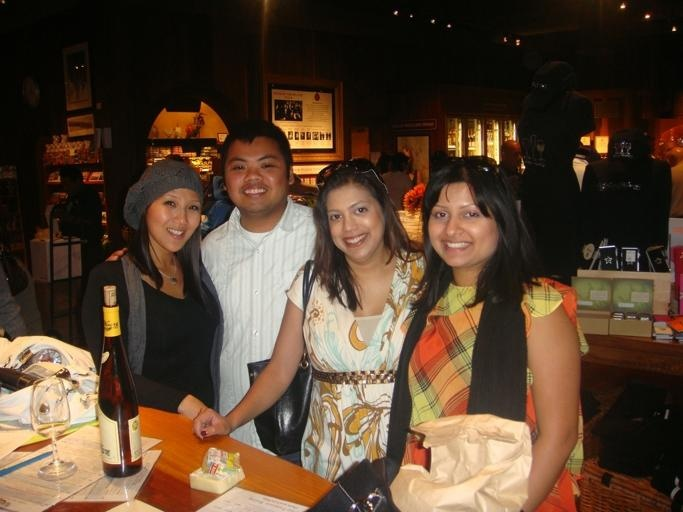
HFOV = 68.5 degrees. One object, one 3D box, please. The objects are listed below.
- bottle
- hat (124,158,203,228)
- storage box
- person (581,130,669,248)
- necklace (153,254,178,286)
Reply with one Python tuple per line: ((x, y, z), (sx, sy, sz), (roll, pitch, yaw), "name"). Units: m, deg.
((-0.766, 0.484, 1.696), (0.122, 0.432, 0.266), (-7, 15, -28), "bottle")
((-0.883, -0.333, 2.512), (0.318, 0.316, 0.381), (-7, -7, -28), "hat")
((1.820, 0.223, 3.228), (0.545, 0.262, 0.113), (4, 13, 14), "storage box")
((2.032, -0.488, 3.539), (0.536, 0.787, 0.838), (8, 16, 31), "person")
((-0.866, 0.082, 2.491), (0.133, 0.141, 0.050), (-5, -16, -39), "necklace")
